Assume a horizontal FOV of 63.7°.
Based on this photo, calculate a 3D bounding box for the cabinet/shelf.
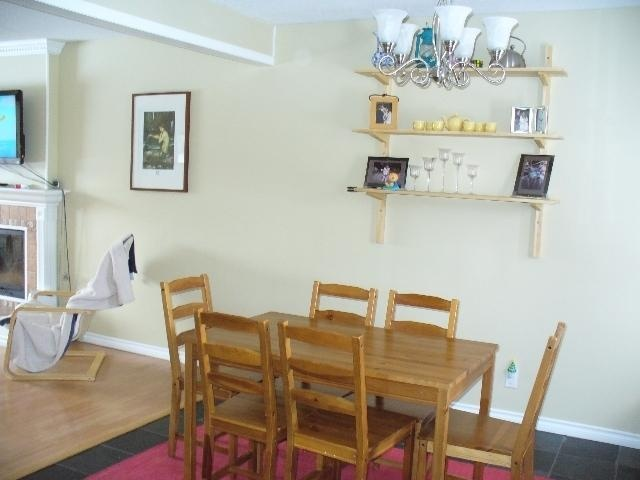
[{"bbox_3d":[1.129,-0.683,3.981,1.677,1.609,0.491,4,4,27],"label":"cabinet/shelf"}]

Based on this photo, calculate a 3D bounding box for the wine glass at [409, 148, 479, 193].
[{"bbox_3d":[1.023,-0.558,4.149,0.394,0.235,0.094,1,1,15],"label":"wine glass"}]

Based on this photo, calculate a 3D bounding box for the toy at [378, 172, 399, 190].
[{"bbox_3d":[0.582,-0.482,4.285,0.143,0.142,0.134,-2,2,-44],"label":"toy"}]

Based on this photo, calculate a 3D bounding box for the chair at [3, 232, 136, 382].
[{"bbox_3d":[-2.262,0.678,5.140,1.397,1.445,1.088,4,1,-1],"label":"chair"}]

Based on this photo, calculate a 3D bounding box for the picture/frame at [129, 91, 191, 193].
[{"bbox_3d":[-1.569,-0.995,5.157,0.945,1.331,0.051,4,6,26],"label":"picture/frame"}]
